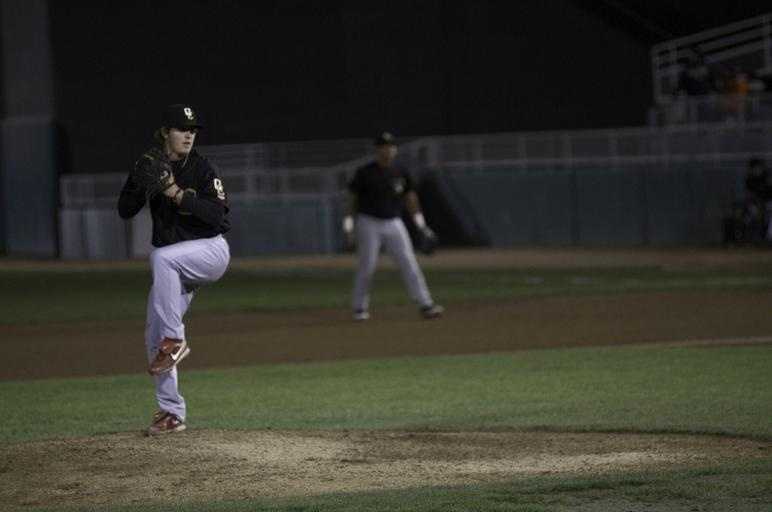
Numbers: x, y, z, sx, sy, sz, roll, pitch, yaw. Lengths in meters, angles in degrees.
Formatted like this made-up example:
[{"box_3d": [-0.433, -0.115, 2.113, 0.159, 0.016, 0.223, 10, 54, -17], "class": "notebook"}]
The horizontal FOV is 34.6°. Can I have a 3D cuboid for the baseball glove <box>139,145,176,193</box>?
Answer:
[{"box_3d": [-2.489, -0.924, 13.314, 0.367, 0.451, 0.198, -1, -1, -8], "class": "baseball glove"}]

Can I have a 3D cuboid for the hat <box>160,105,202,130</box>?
[{"box_3d": [-2.250, -1.518, 13.543, 0.370, 0.183, 0.275, 0, 8, 18], "class": "hat"}]

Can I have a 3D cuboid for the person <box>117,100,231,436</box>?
[{"box_3d": [-2.306, 0.214, 13.691, 1.138, 3.711, 0.936, -8, 14, -27], "class": "person"}]

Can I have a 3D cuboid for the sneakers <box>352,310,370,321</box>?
[{"box_3d": [-0.332, 0.745, 15.617, 0.191, 0.092, 0.243, -1, -5, -5], "class": "sneakers"}]

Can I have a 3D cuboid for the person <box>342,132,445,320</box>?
[{"box_3d": [0.057, -0.323, 15.436, 1.145, 2.286, 0.758, -3, 13, -4], "class": "person"}]

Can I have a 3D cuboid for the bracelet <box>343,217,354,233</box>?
[{"box_3d": [-0.475, -0.400, 15.579, 0.125, 0.119, 0.225, -1, 3, -7], "class": "bracelet"}]

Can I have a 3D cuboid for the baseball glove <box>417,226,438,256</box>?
[{"box_3d": [0.557, -0.222, 16.036, 0.155, 0.334, 0.263, -42, -27, -10], "class": "baseball glove"}]

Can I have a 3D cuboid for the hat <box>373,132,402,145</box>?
[{"box_3d": [0.016, -1.478, 15.565, 0.340, 0.176, 0.331, -2, 6, -8], "class": "hat"}]

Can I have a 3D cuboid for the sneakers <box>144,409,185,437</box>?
[{"box_3d": [-2.436, 1.833, 13.552, 0.494, 0.214, 0.192, 6, -8, -41], "class": "sneakers"}]

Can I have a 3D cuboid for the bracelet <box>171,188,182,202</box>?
[{"box_3d": [-2.251, -0.648, 13.319, 0.108, 0.146, 0.049, -4, 13, -10], "class": "bracelet"}]
